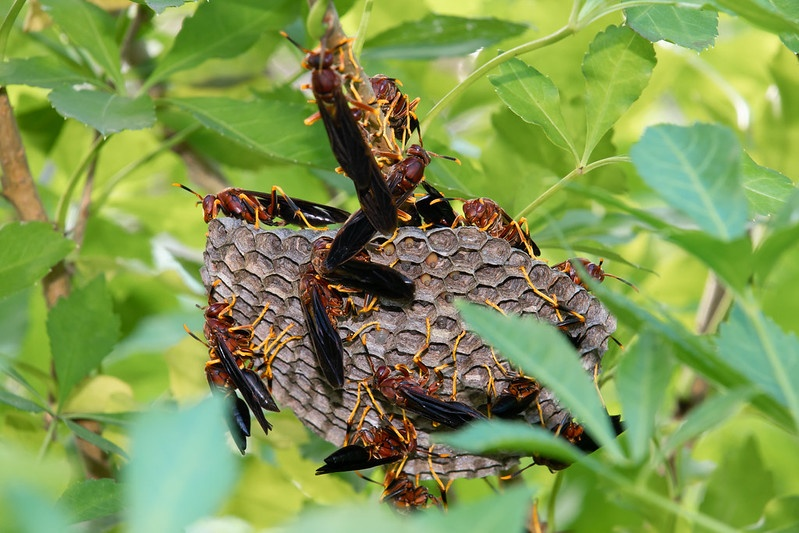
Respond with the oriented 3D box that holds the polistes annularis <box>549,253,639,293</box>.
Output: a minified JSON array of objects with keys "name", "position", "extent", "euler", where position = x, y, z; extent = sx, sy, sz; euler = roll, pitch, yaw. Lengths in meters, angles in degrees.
[{"name":"polistes annularis","position":[0.557,0.014,2.528],"extent":[0.203,0.149,0.058],"euler":[20,82,12]}]

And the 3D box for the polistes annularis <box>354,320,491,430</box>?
[{"name":"polistes annularis","position":[0.088,0.305,2.490],"extent":[0.338,0.255,0.116],"euler":[33,17,16]}]

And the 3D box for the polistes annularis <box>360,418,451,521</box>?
[{"name":"polistes annularis","position":[0.019,0.574,2.429],"extent":[0.255,0.242,0.077],"euler":[48,8,-13]}]

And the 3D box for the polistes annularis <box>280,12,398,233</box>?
[{"name":"polistes annularis","position":[-0.096,-0.348,2.212],"extent":[0.230,0.531,0.158],"euler":[-26,20,-6]}]

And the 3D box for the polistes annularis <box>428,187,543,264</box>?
[{"name":"polistes annularis","position":[0.238,-0.120,2.451],"extent":[0.252,0.181,0.081],"euler":[25,73,-14]}]

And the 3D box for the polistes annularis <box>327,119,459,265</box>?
[{"name":"polistes annularis","position":[-0.039,-0.223,2.318],"extent":[0.121,0.219,0.398],"euler":[36,33,19]}]

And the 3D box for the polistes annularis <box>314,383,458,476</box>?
[{"name":"polistes annularis","position":[-0.050,0.475,2.469],"extent":[0.295,0.087,0.266],"euler":[-16,89,2]}]

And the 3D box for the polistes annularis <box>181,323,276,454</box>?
[{"name":"polistes annularis","position":[-0.436,0.313,2.521],"extent":[0.113,0.275,0.367],"euler":[-10,70,-35]}]

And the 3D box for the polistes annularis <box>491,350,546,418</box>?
[{"name":"polistes annularis","position":[0.305,0.335,2.360],"extent":[0.121,0.044,0.149],"euler":[-38,30,-11]}]
